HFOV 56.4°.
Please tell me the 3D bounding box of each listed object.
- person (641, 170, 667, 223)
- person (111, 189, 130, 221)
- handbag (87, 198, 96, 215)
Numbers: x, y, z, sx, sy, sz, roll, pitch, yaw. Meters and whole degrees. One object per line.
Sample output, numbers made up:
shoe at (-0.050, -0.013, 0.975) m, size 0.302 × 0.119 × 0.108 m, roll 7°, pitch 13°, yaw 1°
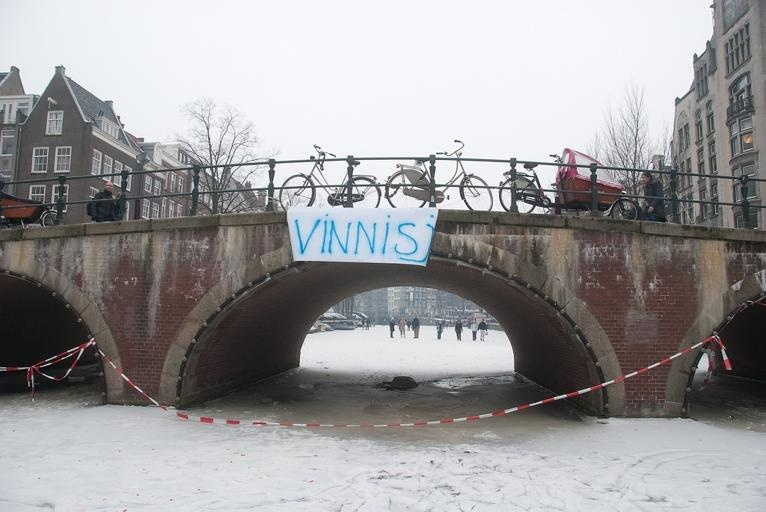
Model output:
person at (7.658, -1.445, 20.227) m, size 0.758 × 1.853 × 0.657 m, roll 1°, pitch -12°, yaw 1°
person at (-7.617, -1.473, 20.652) m, size 0.315 × 0.876 × 1.823 m, roll -1°, pitch 5°, yaw -21°
handbag at (-8.467, -1.410, 20.653) m, size 0.187 × 0.479 × 1.322 m, roll -1°, pitch 5°, yaw -22°
